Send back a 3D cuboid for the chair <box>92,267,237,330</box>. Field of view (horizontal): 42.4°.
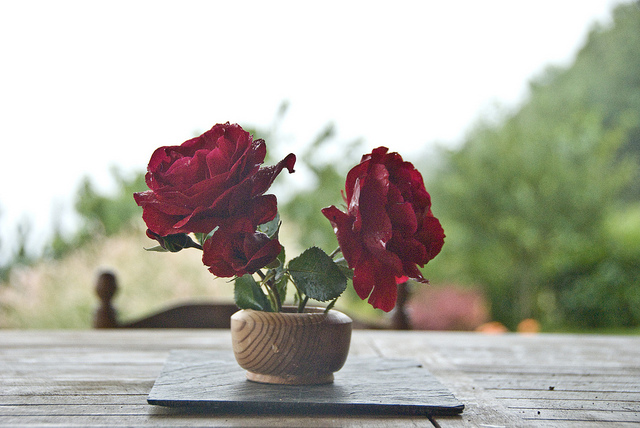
[{"bbox_3d":[-0.478,0.235,2.448,0.431,0.176,0.174,0,-3,-14],"label":"chair"}]

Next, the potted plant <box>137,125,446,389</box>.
[{"bbox_3d":[-0.053,0.114,1.886,0.603,0.559,0.652,5,3,0],"label":"potted plant"}]
